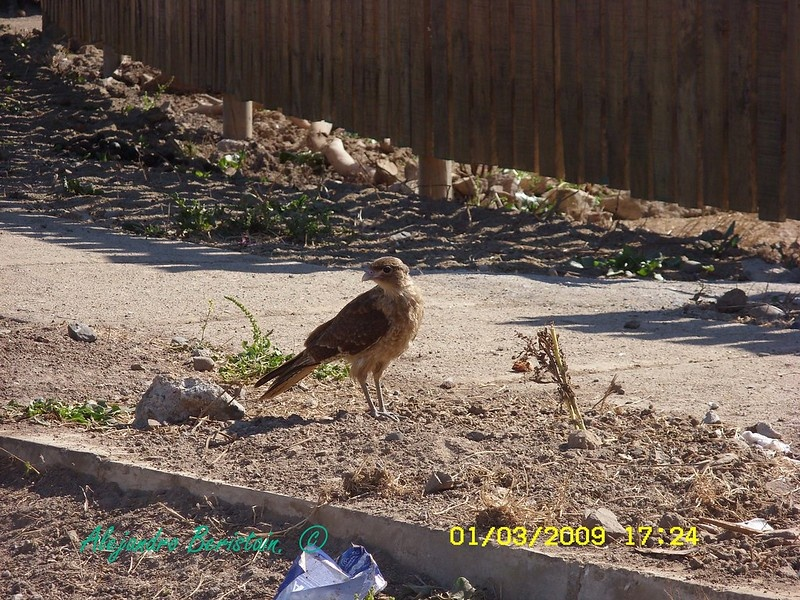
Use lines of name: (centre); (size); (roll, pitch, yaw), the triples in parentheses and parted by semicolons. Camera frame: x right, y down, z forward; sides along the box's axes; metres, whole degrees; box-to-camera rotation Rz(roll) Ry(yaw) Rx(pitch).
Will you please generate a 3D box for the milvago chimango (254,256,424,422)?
milvago chimango: (-0.483, 0.297, 10.854); (1.319, 1.088, 0.640); (-3, -4, 32)
